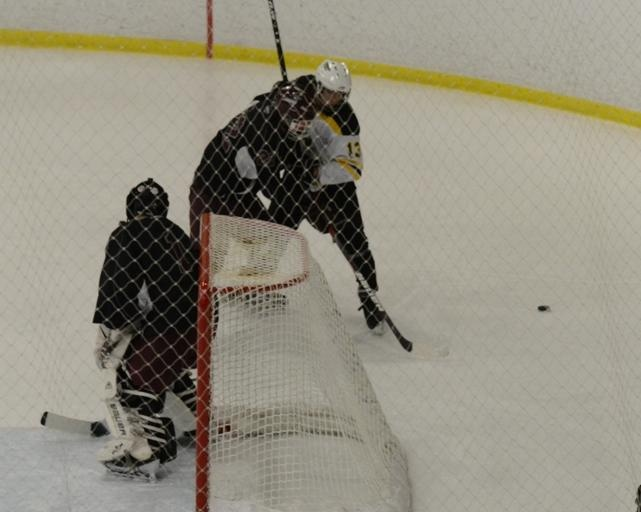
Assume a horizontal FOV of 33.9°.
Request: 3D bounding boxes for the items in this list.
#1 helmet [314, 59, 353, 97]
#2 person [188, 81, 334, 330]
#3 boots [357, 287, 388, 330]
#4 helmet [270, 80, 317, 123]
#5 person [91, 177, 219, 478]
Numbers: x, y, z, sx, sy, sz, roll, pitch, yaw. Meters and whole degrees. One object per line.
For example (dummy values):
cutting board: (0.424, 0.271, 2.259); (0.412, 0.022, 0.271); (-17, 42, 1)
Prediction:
helmet: (0.061, -0.820, 4.929); (0.153, 0.138, 0.147); (25, -16, 0)
person: (-0.242, -0.193, 4.692); (0.557, 1.100, 0.452); (16, 49, 8)
boots: (0.255, 0.286, 5.239); (0.107, 0.241, 0.075); (9, 35, 42)
helmet: (-0.115, -0.717, 4.926); (0.202, 0.207, 0.094); (6, 9, -3)
person: (-0.727, 0.290, 4.431); (0.445, 1.162, 0.543); (3, 9, -13)
